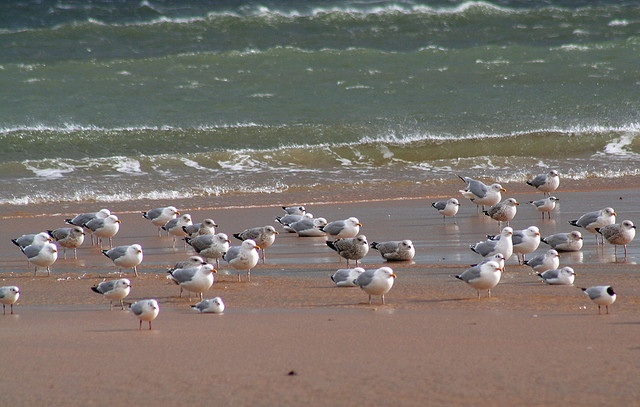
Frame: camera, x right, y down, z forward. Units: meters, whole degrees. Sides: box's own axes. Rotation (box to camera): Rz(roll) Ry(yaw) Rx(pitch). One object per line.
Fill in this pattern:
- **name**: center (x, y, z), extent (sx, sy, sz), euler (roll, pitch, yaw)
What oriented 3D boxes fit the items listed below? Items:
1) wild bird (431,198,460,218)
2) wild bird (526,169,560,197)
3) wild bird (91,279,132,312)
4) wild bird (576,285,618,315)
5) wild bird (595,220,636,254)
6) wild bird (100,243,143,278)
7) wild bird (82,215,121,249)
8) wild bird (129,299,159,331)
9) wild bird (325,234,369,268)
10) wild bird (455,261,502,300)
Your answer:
- **wild bird**: center (5.062, 0.159, 46.994), extent (1.012, 0.778, 1.284), euler (-2, 8, 2)
- **wild bird**: center (9.429, -0.851, 48.995), extent (1.134, 1.104, 1.300), euler (-1, 9, 7)
- **wild bird**: center (-7.214, 3.039, 39.563), extent (0.882, 1.037, 1.155), euler (-9, 11, -33)
- **wild bird**: center (9.403, 3.178, 38.851), extent (0.851, 0.881, 0.949), euler (-6, 10, -23)
- **wild bird**: center (10.936, 1.212, 42.725), extent (1.236, 1.197, 1.056), euler (-2, 9, 4)
- **wild bird**: center (-7.160, 2.009, 41.832), extent (1.202, 1.172, 1.248), euler (-4, 9, -13)
- **wild bird**: center (-8.534, 1.039, 44.657), extent (1.275, 1.282, 1.207), euler (-4, 10, -12)
- **wild bird**: center (-5.876, 3.649, 38.317), extent (0.891, 0.933, 0.618), euler (-3, 10, -6)
- **wild bird**: center (0.962, 1.692, 42.438), extent (1.311, 1.078, 0.895), euler (-4, 10, -10)
- **wild bird**: center (5.494, 2.559, 39.767), extent (1.371, 1.243, 0.719), euler (-1, 11, 6)
